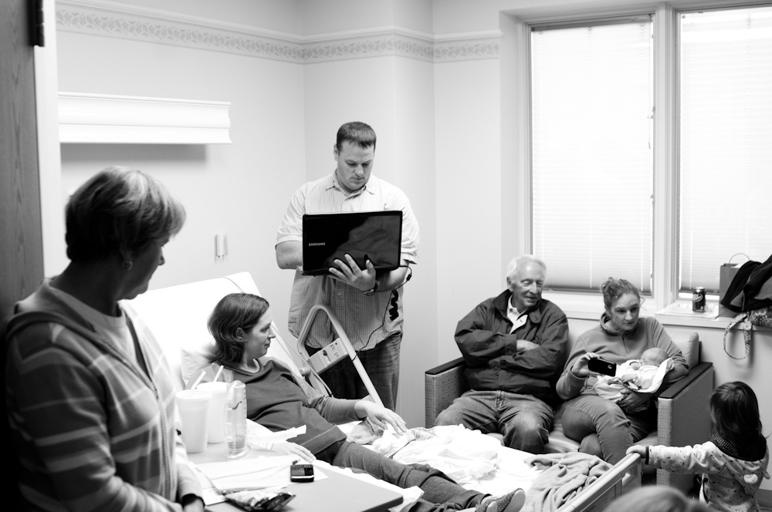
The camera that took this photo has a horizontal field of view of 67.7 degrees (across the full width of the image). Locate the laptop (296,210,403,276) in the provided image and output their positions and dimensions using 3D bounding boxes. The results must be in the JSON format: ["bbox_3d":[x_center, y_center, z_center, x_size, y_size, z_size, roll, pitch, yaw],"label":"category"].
[{"bbox_3d":[-0.159,-0.088,2.996,0.496,0.355,0.337,-2,12,-18],"label":"laptop"}]

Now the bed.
[{"bbox_3d":[-0.080,0.608,2.737,2.055,1.060,1.119,6,13,33],"label":"bed"}]

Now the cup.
[{"bbox_3d":[-0.640,0.608,2.145,0.179,0.222,0.209,-1,4,-3],"label":"cup"}]

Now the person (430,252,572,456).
[{"bbox_3d":[0.833,0.780,3.917,0.751,1.761,1.152,5,-17,21],"label":"person"}]

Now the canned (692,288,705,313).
[{"bbox_3d":[2.099,0.297,3.871,0.076,0.150,0.172,1,5,28],"label":"canned"}]
